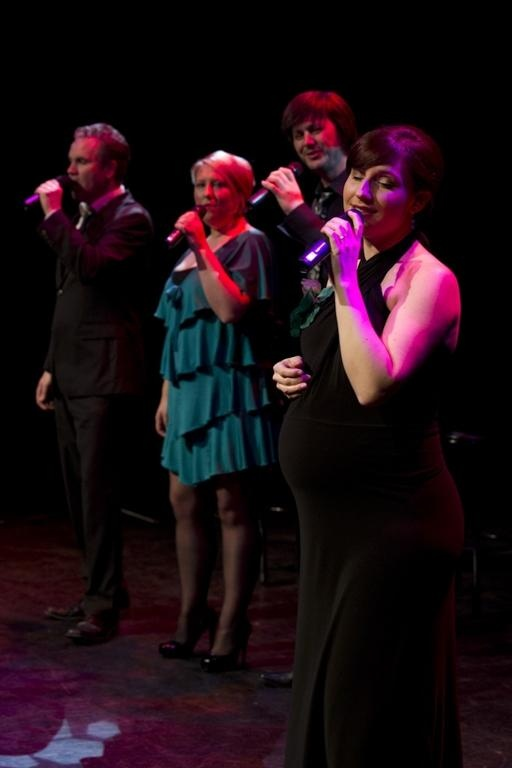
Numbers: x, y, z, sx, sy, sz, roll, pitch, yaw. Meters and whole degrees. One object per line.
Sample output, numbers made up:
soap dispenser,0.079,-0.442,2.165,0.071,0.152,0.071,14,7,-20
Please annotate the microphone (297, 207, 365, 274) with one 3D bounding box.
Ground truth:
microphone,0.131,-0.236,1.253,0.060,0.051,0.258,8,29,27

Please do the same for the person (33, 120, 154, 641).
person,-0.563,-0.045,2.792,0.385,1.763,0.427,1,-1,-8

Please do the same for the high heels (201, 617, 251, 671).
high heels,-0.112,0.741,2.357,0.098,0.154,0.201,-4,-3,18

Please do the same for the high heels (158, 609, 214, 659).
high heels,-0.201,0.759,2.479,0.222,0.151,0.106,2,-3,-10

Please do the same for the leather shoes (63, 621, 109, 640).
leather shoes,-0.534,0.790,2.597,0.136,0.050,0.058,23,-28,-37

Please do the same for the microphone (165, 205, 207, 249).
microphone,-0.200,-0.457,2.323,0.066,0.049,0.210,-8,17,17

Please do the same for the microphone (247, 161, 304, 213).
microphone,0.064,-0.566,2.222,0.245,0.068,0.062,-35,68,-22
